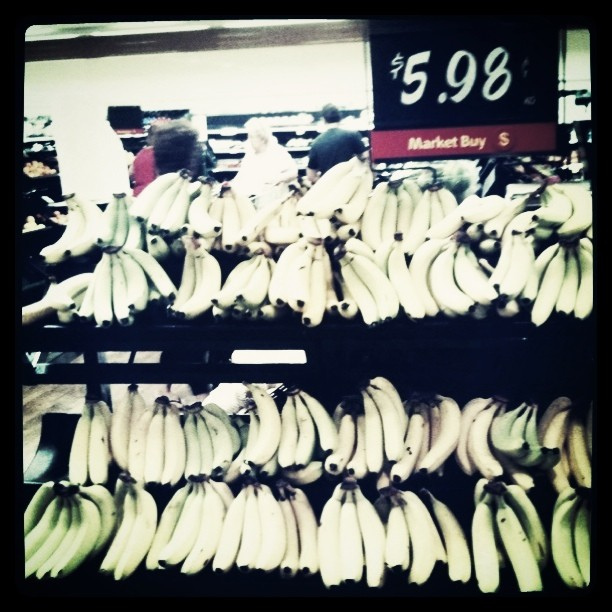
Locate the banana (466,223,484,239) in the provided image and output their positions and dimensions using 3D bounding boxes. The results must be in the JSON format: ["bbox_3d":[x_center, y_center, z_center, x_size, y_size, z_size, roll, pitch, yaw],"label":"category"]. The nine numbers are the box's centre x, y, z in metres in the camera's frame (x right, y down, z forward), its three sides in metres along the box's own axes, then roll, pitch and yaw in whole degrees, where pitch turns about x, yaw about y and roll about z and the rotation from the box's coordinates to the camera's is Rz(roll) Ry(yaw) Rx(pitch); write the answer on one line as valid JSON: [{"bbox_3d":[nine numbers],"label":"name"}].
[{"bbox_3d":[0.590,-0.258,2.619,0.037,0.061,0.031,5,-20,9],"label":"banana"}]

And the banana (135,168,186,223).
[{"bbox_3d":[-0.509,-0.394,2.641,0.043,0.170,0.055,35,-2,12],"label":"banana"}]

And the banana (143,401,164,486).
[{"bbox_3d":[-0.522,0.481,2.699,0.063,0.302,0.087,1,-8,5],"label":"banana"}]

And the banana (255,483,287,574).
[{"bbox_3d":[-0.115,0.770,2.627,0.099,0.277,0.079,-1,6,-3],"label":"banana"}]

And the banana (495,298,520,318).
[{"bbox_3d":[0.693,0.010,2.604,0.086,0.062,0.016,-3,6,-13],"label":"banana"}]

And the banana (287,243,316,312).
[{"bbox_3d":[-0.020,-0.097,2.606,0.053,0.227,0.069,5,-2,9],"label":"banana"}]

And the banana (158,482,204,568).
[{"bbox_3d":[-0.432,0.765,2.638,0.159,0.274,0.047,-2,6,-12],"label":"banana"}]

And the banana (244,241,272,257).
[{"bbox_3d":[-0.168,-0.199,2.649,0.063,0.064,0.035,-5,11,-4],"label":"banana"}]

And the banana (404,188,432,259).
[{"bbox_3d":[0.385,-0.287,2.665,0.058,0.294,0.086,12,15,0],"label":"banana"}]

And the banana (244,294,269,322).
[{"bbox_3d":[-0.174,0.016,2.625,0.056,0.106,0.032,32,16,-6],"label":"banana"}]

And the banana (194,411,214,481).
[{"bbox_3d":[-0.353,0.507,2.711,0.069,0.267,0.058,-9,-2,21],"label":"banana"}]

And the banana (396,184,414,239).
[{"bbox_3d":[0.343,-0.327,2.639,0.043,0.206,0.060,1,12,12],"label":"banana"}]

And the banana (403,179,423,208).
[{"bbox_3d":[0.376,-0.408,2.659,0.043,0.124,0.038,-28,-2,22],"label":"banana"}]

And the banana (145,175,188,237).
[{"bbox_3d":[-0.486,-0.360,2.645,0.033,0.183,0.058,26,0,4],"label":"banana"}]

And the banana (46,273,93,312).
[{"bbox_3d":[-0.826,-0.049,2.645,0.119,0.148,0.032,-14,-14,-6],"label":"banana"}]

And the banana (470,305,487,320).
[{"bbox_3d":[0.593,0.022,2.599,0.051,0.050,0.010,-2,6,-8],"label":"banana"}]

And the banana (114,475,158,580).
[{"bbox_3d":[-0.595,0.772,2.652,0.155,0.342,0.064,-3,6,-16],"label":"banana"}]

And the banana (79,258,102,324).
[{"bbox_3d":[-0.761,-0.059,2.648,0.051,0.201,0.048,13,-6,-2],"label":"banana"}]

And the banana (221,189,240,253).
[{"bbox_3d":[-0.263,-0.296,2.637,0.047,0.226,0.065,1,-6,-7],"label":"banana"}]

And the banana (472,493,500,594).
[{"bbox_3d":[0.613,0.816,2.666,0.080,0.364,0.101,-9,-14,39],"label":"banana"}]

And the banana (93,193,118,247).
[{"bbox_3d":[-0.688,-0.288,2.670,0.052,0.239,0.069,13,5,-7],"label":"banana"}]

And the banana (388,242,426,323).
[{"bbox_3d":[0.338,-0.073,2.659,0.071,0.372,0.113,-12,0,-17],"label":"banana"}]

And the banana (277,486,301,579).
[{"bbox_3d":[-0.055,0.794,2.676,0.062,0.345,0.099,-6,-12,12],"label":"banana"}]

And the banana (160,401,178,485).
[{"bbox_3d":[-0.476,0.481,2.667,0.057,0.283,0.082,0,-4,1],"label":"banana"}]

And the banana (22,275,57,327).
[{"bbox_3d":[-0.932,0.010,2.655,0.088,0.196,0.049,32,-5,41],"label":"banana"}]

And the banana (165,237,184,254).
[{"bbox_3d":[-0.456,-0.215,2.660,0.040,0.059,0.031,-26,-1,3],"label":"banana"}]

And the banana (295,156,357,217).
[{"bbox_3d":[0.070,-0.418,2.611,0.041,0.196,0.065,41,1,-2],"label":"banana"}]

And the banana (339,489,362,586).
[{"bbox_3d":[0.153,0.791,2.565,0.059,0.287,0.066,1,-9,0],"label":"banana"}]

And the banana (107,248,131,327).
[{"bbox_3d":[-0.659,-0.060,2.652,0.059,0.327,0.093,-4,3,-2],"label":"banana"}]

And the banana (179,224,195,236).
[{"bbox_3d":[-0.417,-0.266,2.651,0.036,0.036,0.025,3,5,-1],"label":"banana"}]

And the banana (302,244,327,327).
[{"bbox_3d":[0.025,-0.070,2.660,0.059,0.293,0.089,3,-5,-12],"label":"banana"}]

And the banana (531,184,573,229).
[{"bbox_3d":[0.888,-0.324,2.634,0.126,0.072,0.154,-14,-29,15],"label":"banana"}]

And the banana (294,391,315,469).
[{"bbox_3d":[-0.009,0.438,2.690,0.069,0.267,0.049,-2,-1,2],"label":"banana"}]

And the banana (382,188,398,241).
[{"bbox_3d":[0.293,-0.311,2.642,0.037,0.212,0.060,2,8,1],"label":"banana"}]

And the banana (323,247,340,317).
[{"bbox_3d":[0.084,-0.070,2.632,0.069,0.264,0.048,0,-5,-23],"label":"banana"}]

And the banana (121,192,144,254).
[{"bbox_3d":[-0.598,-0.269,2.662,0.051,0.254,0.081,-2,11,1],"label":"banana"}]

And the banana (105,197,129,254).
[{"bbox_3d":[-0.664,-0.271,2.648,0.052,0.244,0.071,3,15,-5],"label":"banana"}]

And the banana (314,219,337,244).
[{"bbox_3d":[0.073,-0.267,2.633,0.055,0.092,0.029,-17,11,-8],"label":"banana"}]

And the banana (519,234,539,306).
[{"bbox_3d":[0.769,-0.112,2.639,0.070,0.253,0.061,6,-11,15],"label":"banana"}]

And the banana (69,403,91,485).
[{"bbox_3d":[-0.791,0.498,2.682,0.051,0.314,0.070,5,-1,-18],"label":"banana"}]

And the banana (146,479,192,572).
[{"bbox_3d":[-0.475,0.776,2.647,0.049,0.285,0.087,20,-10,10],"label":"banana"}]

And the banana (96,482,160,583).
[{"bbox_3d":[-0.629,0.765,2.684,0.197,0.327,0.114,2,-30,6],"label":"banana"}]

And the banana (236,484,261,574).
[{"bbox_3d":[-0.197,0.771,2.638,0.056,0.302,0.086,0,-10,2],"label":"banana"}]

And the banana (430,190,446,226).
[{"bbox_3d":[0.455,-0.334,2.628,0.037,0.146,0.034,-9,2,-1],"label":"banana"}]
